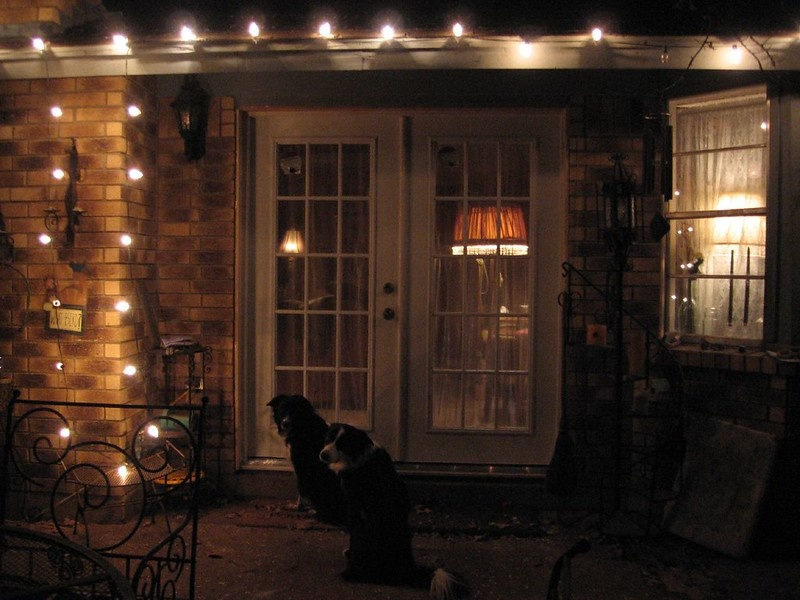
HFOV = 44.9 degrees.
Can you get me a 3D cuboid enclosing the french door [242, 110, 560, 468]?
[{"bbox_3d":[0.093,-0.124,6.851,2.254,2.745,0.278,2,1,0],"label":"french door"}]
